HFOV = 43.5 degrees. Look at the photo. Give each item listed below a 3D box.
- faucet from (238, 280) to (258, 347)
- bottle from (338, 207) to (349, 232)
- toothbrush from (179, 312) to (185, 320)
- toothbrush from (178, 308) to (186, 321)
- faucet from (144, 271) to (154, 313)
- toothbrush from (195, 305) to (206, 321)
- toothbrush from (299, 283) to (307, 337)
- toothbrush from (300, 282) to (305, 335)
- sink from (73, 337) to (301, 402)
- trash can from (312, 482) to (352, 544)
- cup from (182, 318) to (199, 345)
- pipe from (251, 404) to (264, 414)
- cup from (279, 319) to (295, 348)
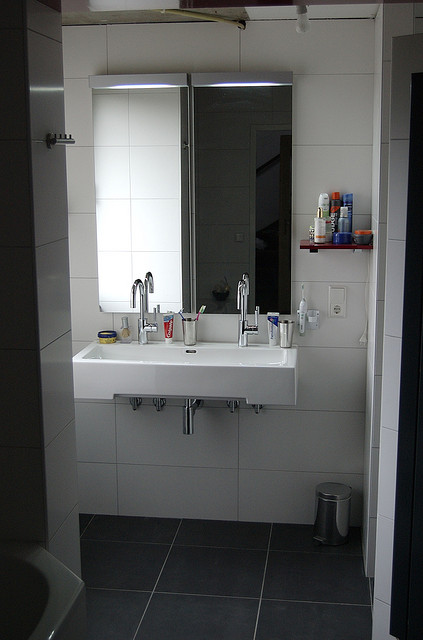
[{"bbox_3d":[0.178,-0.049,2.665,0.110,0.389,0.061,2,30,4],"label":"faucet"},{"bbox_3d":[0.620,-0.475,2.499,0.047,0.112,0.033,2,5,18],"label":"bottle"},{"bbox_3d":[-0.154,-0.025,2.762,0.008,0.046,0.006,-28,-26,6],"label":"toothbrush"},{"bbox_3d":[-0.150,-0.031,2.731,0.031,0.059,0.106,-1,6,-14],"label":"toothbrush"},{"bbox_3d":[-0.323,-0.141,2.732,0.042,0.208,0.068,0,5,3],"label":"faucet"},{"bbox_3d":[-0.058,-0.055,2.741,0.020,0.138,0.020,15,2,-16],"label":"toothbrush"},{"bbox_3d":[0.458,-0.049,2.668,0.038,0.274,0.049,1,5,13],"label":"toothbrush"},{"bbox_3d":[0.455,-0.058,2.663,0.023,0.255,0.038,1,5,10],"label":"toothbrush"},{"bbox_3d":[-0.112,0.248,2.571,1.093,0.295,0.491,1,6,8],"label":"sink"},{"bbox_3d":[0.603,0.982,2.664,0.159,0.280,0.136,3,6,30],"label":"trash can"},{"bbox_3d":[-0.109,0.057,2.699,0.096,0.165,0.091,0,5,0],"label":"cup"},{"bbox_3d":[0.234,0.437,2.687,0.060,0.031,0.069,3,8,6],"label":"pipe"},{"bbox_3d":[0.364,0.066,2.614,0.092,0.180,0.108,0,9,2],"label":"cup"}]
